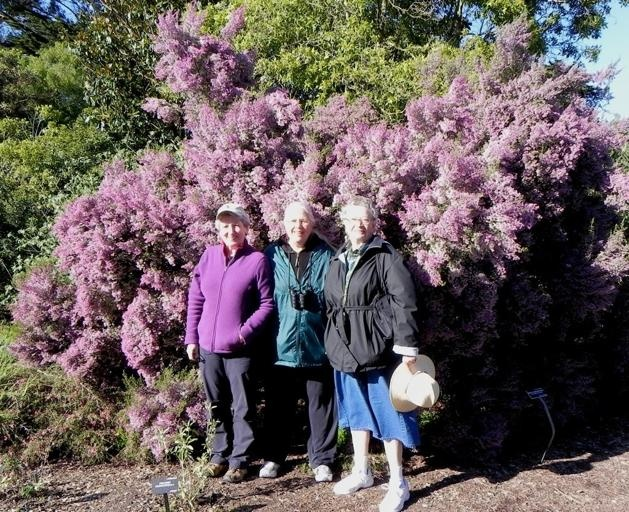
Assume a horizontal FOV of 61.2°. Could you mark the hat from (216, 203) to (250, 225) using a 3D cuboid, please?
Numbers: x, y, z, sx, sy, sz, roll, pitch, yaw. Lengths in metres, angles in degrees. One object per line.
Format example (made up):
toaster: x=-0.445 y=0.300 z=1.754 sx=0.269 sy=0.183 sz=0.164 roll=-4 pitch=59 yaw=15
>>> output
hat: x=-0.783 y=-0.403 z=5.141 sx=0.287 sy=0.212 sz=0.201 roll=1 pitch=10 yaw=5

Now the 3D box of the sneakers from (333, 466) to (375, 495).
sneakers: x=0.374 y=2.125 z=4.992 sx=0.335 sy=0.170 sz=0.191 roll=-9 pitch=23 yaw=-19

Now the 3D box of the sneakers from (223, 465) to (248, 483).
sneakers: x=-0.767 y=2.103 z=5.163 sx=0.218 sy=0.102 sz=0.122 roll=20 pitch=15 yaw=-31

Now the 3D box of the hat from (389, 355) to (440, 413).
hat: x=0.865 y=1.148 z=4.606 sx=0.421 sy=0.529 sz=0.355 roll=-1 pitch=10 yaw=-4

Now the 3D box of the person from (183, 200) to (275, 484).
person: x=-0.820 y=0.839 z=5.165 sx=0.864 sy=2.665 sz=0.579 roll=-1 pitch=10 yaw=-8

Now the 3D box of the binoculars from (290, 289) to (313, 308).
binoculars: x=-0.113 y=0.407 z=5.021 sx=0.221 sy=0.188 sz=0.104 roll=-1 pitch=10 yaw=-7

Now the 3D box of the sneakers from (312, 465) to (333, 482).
sneakers: x=0.096 y=2.116 z=5.174 sx=0.166 sy=0.152 sz=0.062 roll=2 pitch=3 yaw=5

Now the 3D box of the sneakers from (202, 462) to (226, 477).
sneakers: x=-0.962 y=2.091 z=5.183 sx=0.102 sy=0.133 sz=0.296 roll=16 pitch=-10 yaw=40
